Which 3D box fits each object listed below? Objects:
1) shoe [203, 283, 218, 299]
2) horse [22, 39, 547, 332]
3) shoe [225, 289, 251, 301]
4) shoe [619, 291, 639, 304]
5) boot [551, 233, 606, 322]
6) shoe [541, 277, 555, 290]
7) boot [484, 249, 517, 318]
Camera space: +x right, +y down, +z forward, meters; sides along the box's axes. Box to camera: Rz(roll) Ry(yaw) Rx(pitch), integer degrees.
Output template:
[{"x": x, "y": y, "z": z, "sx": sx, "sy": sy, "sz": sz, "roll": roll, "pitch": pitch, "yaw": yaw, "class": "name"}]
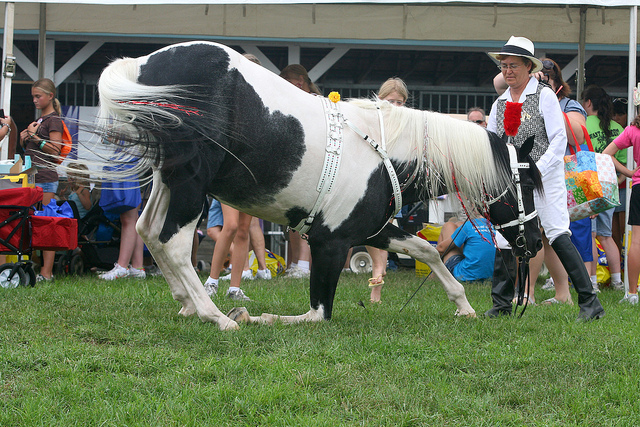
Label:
[{"x": -1.352, "y": 0.955, "z": 14.557, "sx": 0.199, "sy": 0.202, "sz": 0.547, "roll": 1, "pitch": -5, "yaw": -1, "class": "shoe"}, {"x": -0.238, "y": -0.418, "z": 17.031, "sx": 6.946, "sy": 3.253, "sz": 8.820, "roll": 1, "pitch": 2, "yaw": 10, "class": "horse"}, {"x": -1.037, "y": 1.030, "z": 14.716, "sx": 0.362, "sy": 0.122, "sz": 0.124, "roll": 1, "pitch": 0, "yaw": 3, "class": "shoe"}, {"x": 4.029, "y": 1.094, "z": 15.299, "sx": 0.173, "sy": 0.174, "sz": 0.442, "roll": 2, "pitch": 2, "yaw": 4, "class": "shoe"}, {"x": 3.065, "y": 0.788, "z": 14.161, "sx": 0.294, "sy": 1.134, "sz": 0.563, "roll": -16, "pitch": 7, "yaw": 46, "class": "boot"}, {"x": 3.237, "y": 0.996, "z": 16.597, "sx": 0.184, "sy": 0.080, "sz": 0.240, "roll": 8, "pitch": 26, "yaw": 25, "class": "shoe"}, {"x": 2.238, "y": 0.856, "z": 14.367, "sx": 0.396, "sy": 0.806, "sz": 0.417, "roll": 2, "pitch": -2, "yaw": -7, "class": "boot"}]
